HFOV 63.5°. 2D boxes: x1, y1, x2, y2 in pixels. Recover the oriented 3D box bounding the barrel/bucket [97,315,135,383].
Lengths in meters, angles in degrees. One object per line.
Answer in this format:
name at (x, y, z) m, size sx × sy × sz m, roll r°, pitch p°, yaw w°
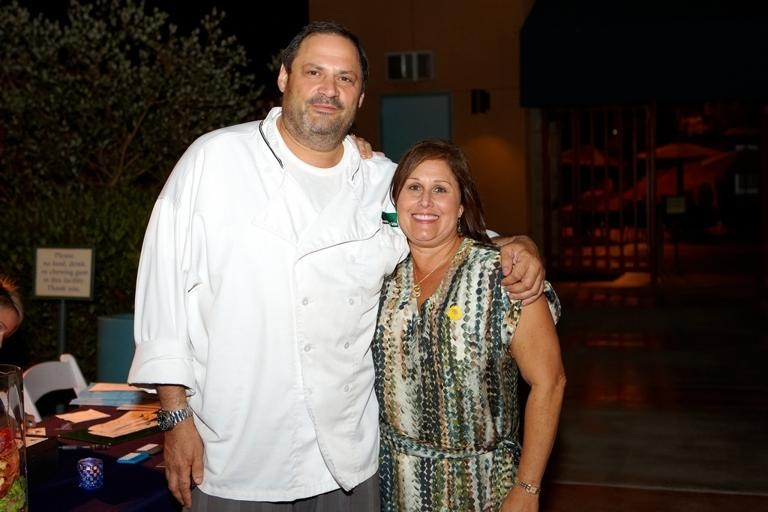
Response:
barrel/bucket at (-1.709, 0.589, 3.951) m, size 0.260 × 0.408 × 0.159 m, roll -1°, pitch 10°, yaw -6°
